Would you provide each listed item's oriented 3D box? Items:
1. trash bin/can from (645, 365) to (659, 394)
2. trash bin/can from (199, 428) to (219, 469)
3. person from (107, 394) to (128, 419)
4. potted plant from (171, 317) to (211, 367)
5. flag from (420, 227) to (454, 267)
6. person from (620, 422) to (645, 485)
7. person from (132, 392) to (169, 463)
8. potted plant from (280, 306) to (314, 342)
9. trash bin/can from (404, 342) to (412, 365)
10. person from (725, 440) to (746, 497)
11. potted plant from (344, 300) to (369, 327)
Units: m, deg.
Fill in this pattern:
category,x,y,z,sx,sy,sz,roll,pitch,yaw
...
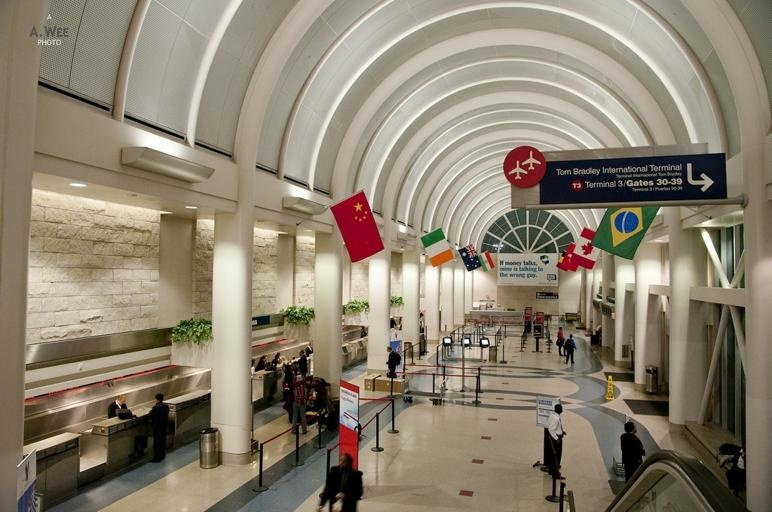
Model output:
category,x,y,z,sx,sy,sz,roll,pitch,yaw
trash bin/can,12.485,5.863,21.868,0.522,1.243,0.416,-3,-3,27
trash bin/can,-5.065,5.602,13.482,0.522,1.062,0.312,-1,-3,-21
person,-7.758,4.352,13.461,0.982,0.613,0.386,-4,-3,42
potted plant,-6.511,3.087,16.806,1.834,1.625,1.922,3,-11,-36
flag,2.892,-0.540,25.860,1.374,2.094,2.388,-2,-2,9
person,6.642,5.409,12.505,0.509,1.550,0.870,-3,-3,27
person,-6.796,5.038,13.809,0.896,2.008,0.912,-2,-3,-2
potted plant,-4.148,3.279,22.699,1.406,1.525,1.520,10,-15,-18
trash bin/can,1.340,5.762,27.487,0.324,0.752,1.211,-1,1,20
person,8.837,5.490,11.733,0.394,1.243,0.430,-4,-3,35
potted plant,-1.983,3.536,28.525,1.446,1.714,1.751,0,-1,19
